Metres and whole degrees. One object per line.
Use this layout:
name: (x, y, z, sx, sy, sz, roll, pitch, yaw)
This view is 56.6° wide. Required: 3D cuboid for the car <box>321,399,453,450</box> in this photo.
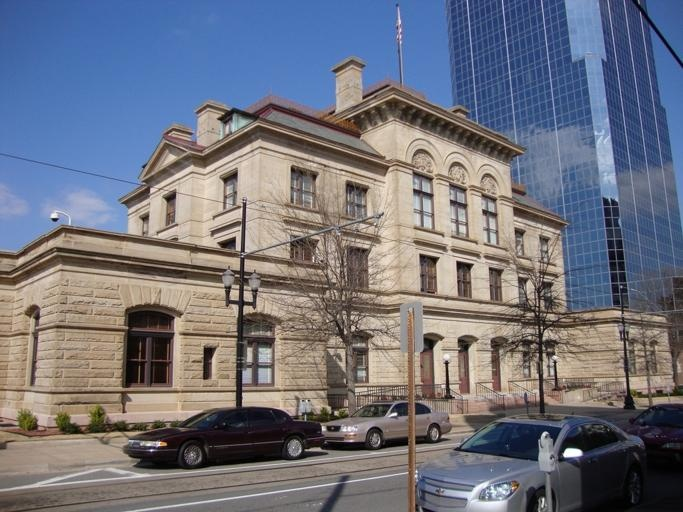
car: (1.901, 6.747, 25.322, 4.929, 1.329, 1.916, 12, -19, -37)
